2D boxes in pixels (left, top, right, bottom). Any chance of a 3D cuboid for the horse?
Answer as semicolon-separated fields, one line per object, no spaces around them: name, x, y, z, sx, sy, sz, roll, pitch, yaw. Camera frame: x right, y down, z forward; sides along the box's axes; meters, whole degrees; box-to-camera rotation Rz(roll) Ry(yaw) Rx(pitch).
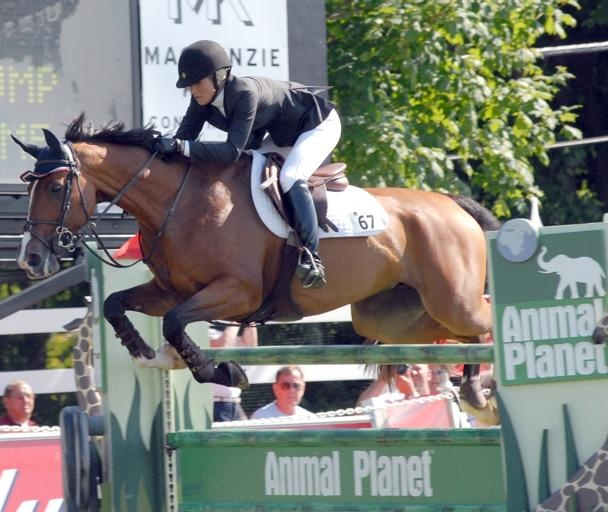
horse;-0.109;0.146;10.465;3.524;1.800;0.830;2;-10;-22

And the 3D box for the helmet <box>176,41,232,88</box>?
helmet;-0.650;-1.169;10.175;0.354;0.253;0.264;-23;3;-32
